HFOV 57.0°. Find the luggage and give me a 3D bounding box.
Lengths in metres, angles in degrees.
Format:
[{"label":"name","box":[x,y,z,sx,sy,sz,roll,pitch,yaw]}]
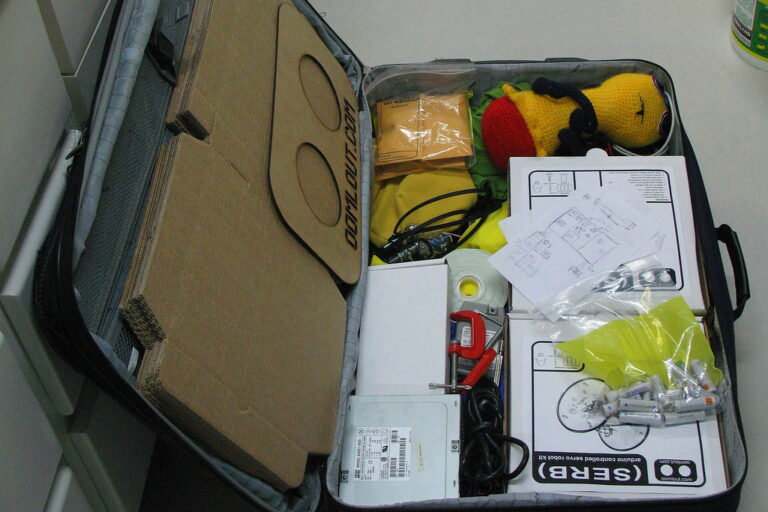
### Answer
[{"label":"luggage","box":[0.043,0.041,1.702,1.188,1.108,0.782,-3,-18,4]}]
